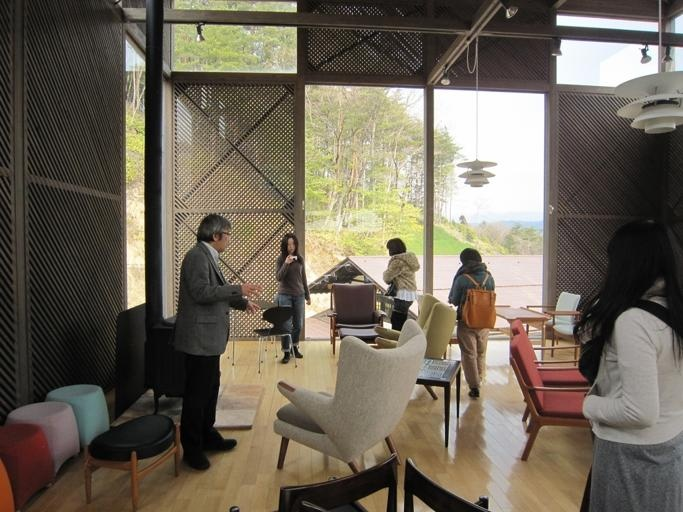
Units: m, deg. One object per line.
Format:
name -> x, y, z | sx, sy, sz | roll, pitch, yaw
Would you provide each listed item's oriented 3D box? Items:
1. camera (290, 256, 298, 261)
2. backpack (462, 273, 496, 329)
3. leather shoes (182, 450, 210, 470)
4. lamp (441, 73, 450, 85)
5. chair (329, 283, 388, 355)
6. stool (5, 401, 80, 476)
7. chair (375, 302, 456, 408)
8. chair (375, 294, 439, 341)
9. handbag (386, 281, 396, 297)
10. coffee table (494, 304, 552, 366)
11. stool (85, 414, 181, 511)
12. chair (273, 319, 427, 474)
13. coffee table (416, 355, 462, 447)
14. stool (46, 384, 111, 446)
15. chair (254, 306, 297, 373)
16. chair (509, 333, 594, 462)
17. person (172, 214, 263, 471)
camera -> -0.617, 0.029, 7.704 | 0.034, 0.066, 0.148 | 4, 10, 19
backpack -> 1.495, 0.480, 6.378 | 0.342, 0.587, 0.364 | 4, 0, -19
leather shoes -> -1.233, 1.731, 4.976 | 0.223, 0.105, 0.117 | 3, 1, 41
lamp -> 1.445, -2.493, 8.208 | 0.138, 0.161, 0.397 | 3, 19, 8
chair -> 0.230, 0.850, 7.788 | 0.729, 0.945, 0.906 | 1, 3, -8
stool -> -2.412, 1.486, 4.848 | 0.496, 0.503, 0.501 | 1, -1, -8
chair -> 0.704, 1.005, 6.484 | 0.957, 1.028, 0.947 | 2, 2, -25
chair -> 0.788, 0.726, 6.995 | 0.630, 0.729, 0.533 | 0, -3, 10
handbag -> 0.622, 0.413, 7.294 | 0.157, 0.172, 0.118 | 7, -1, -5
coffee table -> 2.371, 1.097, 7.556 | 0.466, 0.588, 1.397 | -3, -5, 19
stool -> -1.686, 1.629, 4.689 | 0.618, 0.547, 0.556 | 3, 10, 15
chair -> 0.071, 1.164, 4.967 | 1.245, 1.243, 1.276 | 2, 6, -7
coffee table -> 0.968, 1.272, 5.581 | 0.564, 0.627, 0.876 | 0, 1, 17
stool -> -2.293, 1.495, 5.331 | 0.541, 0.492, 0.552 | -11, 4, -9
chair -> -0.839, 0.973, 7.185 | 0.365, 0.652, 0.400 | 5, -4, -12
chair -> 1.715, 1.210, 5.381 | 0.956, 1.172, 0.880 | -1, 5, 8
person -> -1.102, 0.713, 5.073 | 0.666, 2.114, 0.548 | -5, 11, -28
